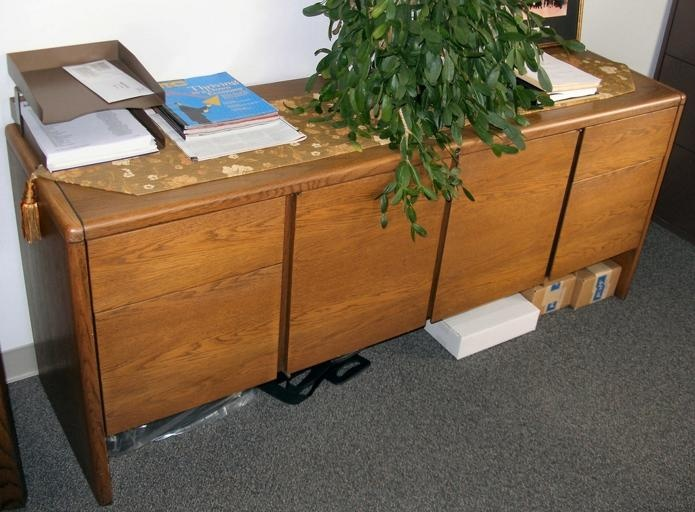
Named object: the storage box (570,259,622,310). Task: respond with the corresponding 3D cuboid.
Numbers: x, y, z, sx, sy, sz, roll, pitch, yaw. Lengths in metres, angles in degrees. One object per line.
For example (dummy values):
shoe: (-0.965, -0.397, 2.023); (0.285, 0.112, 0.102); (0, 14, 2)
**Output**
storage box: (0.979, 0.108, 2.103); (0.220, 0.121, 0.105); (-16, 44, -12)
